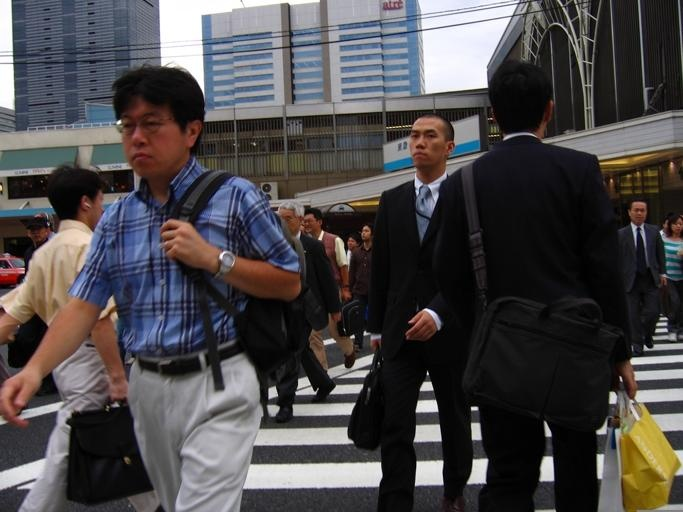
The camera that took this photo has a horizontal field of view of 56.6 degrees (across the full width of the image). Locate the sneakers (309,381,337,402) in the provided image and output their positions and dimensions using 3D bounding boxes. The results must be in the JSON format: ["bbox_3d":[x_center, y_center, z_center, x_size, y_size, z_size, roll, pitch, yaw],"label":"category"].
[{"bbox_3d":[-0.196,1.490,6.904,0.150,0.350,0.135,33,26,-23],"label":"sneakers"}]

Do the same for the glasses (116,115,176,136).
[{"bbox_3d":[-0.880,-0.557,2.727,0.306,0.072,0.091,-1,1,25],"label":"glasses"}]

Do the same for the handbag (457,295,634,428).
[{"bbox_3d":[0.913,0.458,2.759,0.521,0.519,0.288,11,-8,16],"label":"handbag"}]

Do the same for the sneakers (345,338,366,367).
[{"bbox_3d":[0.194,1.376,8.962,0.150,0.223,0.514,-1,20,12],"label":"sneakers"}]
